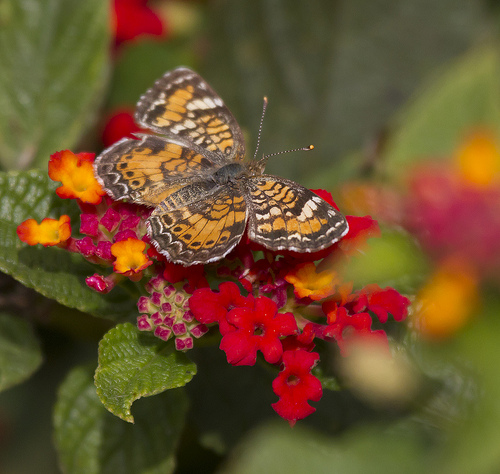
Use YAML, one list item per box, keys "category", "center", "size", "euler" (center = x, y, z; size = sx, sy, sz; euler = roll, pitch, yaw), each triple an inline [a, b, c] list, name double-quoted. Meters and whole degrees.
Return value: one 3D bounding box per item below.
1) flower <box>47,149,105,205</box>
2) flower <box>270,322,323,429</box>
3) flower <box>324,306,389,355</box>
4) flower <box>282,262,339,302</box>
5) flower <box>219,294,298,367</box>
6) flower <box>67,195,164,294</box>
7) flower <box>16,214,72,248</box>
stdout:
- category: "flower"
  center: [-0.373, -0.130, 1.192]
  size: [0.132, 0.047, 0.112]
  euler: [24, 47, 26]
- category: "flower"
  center: [0.100, 0.267, 1.088]
  size: [0.115, 0.042, 0.181]
  euler: [15, 102, 13]
- category: "flower"
  center: [0.198, 0.180, 1.148]
  size: [0.113, 0.183, 0.082]
  euler: [-9, 83, -1]
- category: "flower"
  center: [0.130, 0.093, 1.165]
  size: [0.094, 0.130, 0.080]
  euler: [-31, 84, -4]
- category: "flower"
  center: [0.009, 0.184, 1.101]
  size: [0.129, 0.195, 0.137]
  euler: [31, 84, 3]
- category: "flower"
  center: [-0.303, 0.029, 1.240]
  size: [0.239, 0.091, 0.213]
  euler: [19, 43, -2]
- category: "flower"
  center: [-0.432, -0.008, 1.217]
  size: [0.118, 0.143, 0.065]
  euler: [1, 83, 0]
